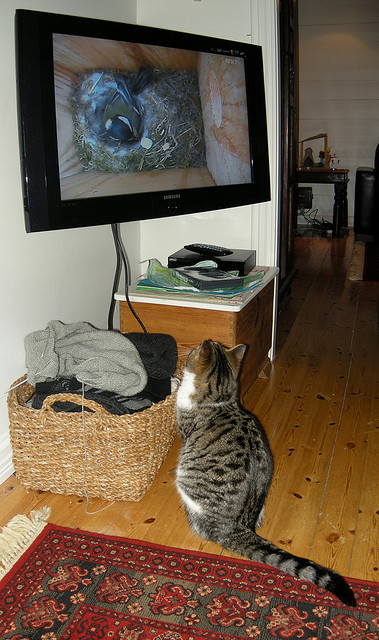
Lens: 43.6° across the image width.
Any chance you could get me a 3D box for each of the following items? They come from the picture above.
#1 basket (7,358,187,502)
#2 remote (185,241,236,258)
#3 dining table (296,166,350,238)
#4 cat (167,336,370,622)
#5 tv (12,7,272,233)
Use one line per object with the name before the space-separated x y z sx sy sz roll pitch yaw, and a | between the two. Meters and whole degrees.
basket | -0.246 0.246 1.381 0.333 0.309 0.463 5 25 12
remote | 0.075 -0.284 1.937 0.206 0.039 0.211 5 13 20
dining table | 1.675 -1.482 5.940 0.768 0.913 0.959 -1 33 11
cat | 0.077 0.319 1.242 0.241 0.375 0.803 -14 57 -13
tv | -0.067 -0.610 1.456 0.083 0.655 0.996 9 14 37
